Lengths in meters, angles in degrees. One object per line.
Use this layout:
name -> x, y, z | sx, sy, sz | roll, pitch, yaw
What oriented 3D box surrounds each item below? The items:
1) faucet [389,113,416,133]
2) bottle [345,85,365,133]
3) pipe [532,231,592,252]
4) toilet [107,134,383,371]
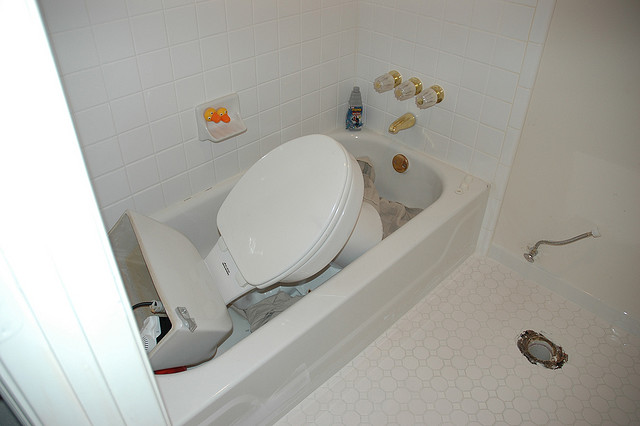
faucet -> 0.378, -0.420, 1.928 | 0.132, 0.057, 0.076 | -29, 62, -27
bottle -> 0.181, -0.535, 2.082 | 0.099, 0.227, 0.078 | 4, 23, 3
pipe -> 1.007, 0.127, 1.727 | 0.163, 0.059, 0.025 | -17, 15, 43
toilet -> -0.210, 0.166, 1.575 | 1.098, 0.452, 0.545 | -32, 59, -14
